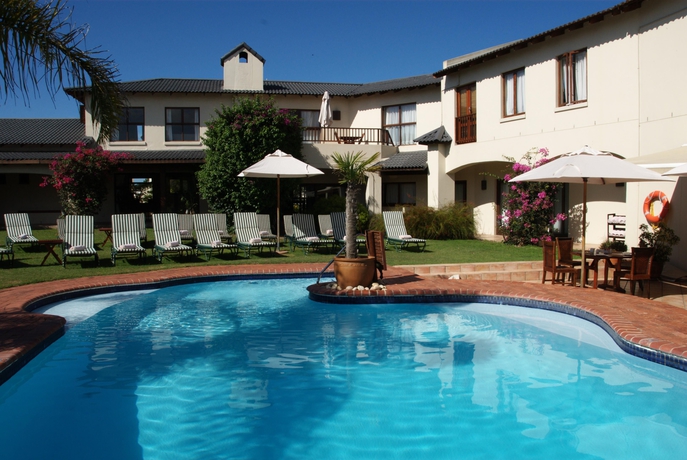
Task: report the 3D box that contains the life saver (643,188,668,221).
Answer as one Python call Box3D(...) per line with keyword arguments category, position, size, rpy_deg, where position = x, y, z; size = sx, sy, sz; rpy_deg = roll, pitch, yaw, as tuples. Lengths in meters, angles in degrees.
Box3D(category="life saver", position=(9.335, -0.798, 15.821), size=(0.210, 0.807, 0.750), rpy_deg=(12, 7, -28))

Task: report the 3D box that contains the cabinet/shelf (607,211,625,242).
Box3D(category="cabinet/shelf", position=(10.324, -0.163, 19.959), size=(0.433, 1.066, 1.139), rpy_deg=(0, 2, -7))
